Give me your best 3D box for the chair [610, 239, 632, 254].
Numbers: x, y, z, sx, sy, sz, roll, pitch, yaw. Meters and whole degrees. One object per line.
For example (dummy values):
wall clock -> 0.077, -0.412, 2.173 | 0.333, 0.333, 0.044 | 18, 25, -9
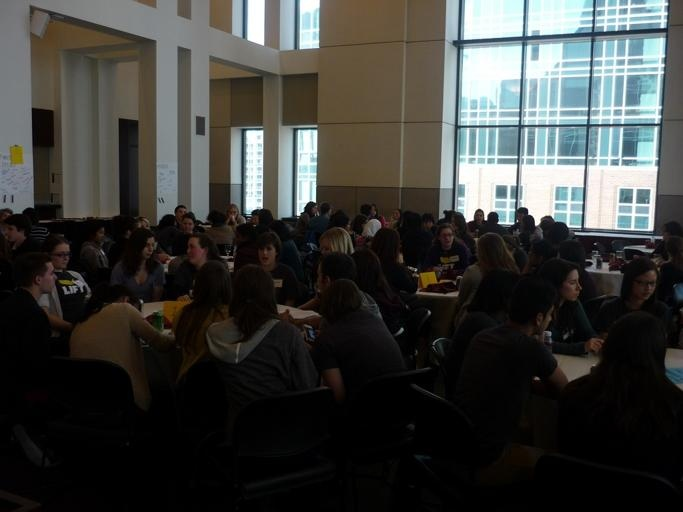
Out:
chair -> 4.452, -0.159, 8.478 | 0.191, 0.263, 0.201 | 0, 8, 19

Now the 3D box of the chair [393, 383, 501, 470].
chair -> 0.477, 0.788, 2.459 | 0.350, 0.376, 0.301 | -3, 5, -23

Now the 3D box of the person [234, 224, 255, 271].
person -> -0.949, -0.074, 5.274 | 0.233, 0.454, 0.801 | -1, 8, -9

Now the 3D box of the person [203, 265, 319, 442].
person -> -0.372, 0.724, 3.026 | 0.527, 1.376, 0.533 | -2, 19, 8

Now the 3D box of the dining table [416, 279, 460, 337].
dining table -> 0.961, 0.515, 5.244 | 0.404, 0.522, 0.432 | 0, 2, -10

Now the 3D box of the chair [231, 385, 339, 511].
chair -> -0.275, 0.840, 2.826 | 0.490, 0.752, 0.580 | -3, 9, -18

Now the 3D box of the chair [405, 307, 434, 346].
chair -> 0.643, 0.569, 4.411 | 0.171, 0.389, 0.695 | 1, 8, 12

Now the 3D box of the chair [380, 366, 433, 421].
chair -> 0.354, 0.693, 2.874 | 0.277, 0.253, 0.222 | -9, 8, -36

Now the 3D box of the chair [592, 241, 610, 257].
chair -> 4.070, -0.109, 8.372 | 0.209, 0.120, 0.315 | 3, 2, 13

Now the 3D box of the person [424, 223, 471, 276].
person -> 1.164, -0.100, 5.768 | 0.456, 0.786, 0.512 | 0, 8, 17

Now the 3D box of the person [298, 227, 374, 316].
person -> -0.030, 0.138, 3.958 | 0.423, 0.832, 0.457 | -3, 26, -9

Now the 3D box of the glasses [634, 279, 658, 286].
glasses -> 2.026, 0.177, 3.541 | 0.142, 0.049, 0.060 | 0, 8, 3

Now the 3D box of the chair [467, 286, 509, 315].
chair -> 0.858, 0.258, 3.153 | 0.184, 0.208, 0.145 | 3, -3, -20

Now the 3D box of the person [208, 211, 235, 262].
person -> -1.638, -0.346, 7.392 | 0.323, 0.279, 0.843 | 1, -39, -6
